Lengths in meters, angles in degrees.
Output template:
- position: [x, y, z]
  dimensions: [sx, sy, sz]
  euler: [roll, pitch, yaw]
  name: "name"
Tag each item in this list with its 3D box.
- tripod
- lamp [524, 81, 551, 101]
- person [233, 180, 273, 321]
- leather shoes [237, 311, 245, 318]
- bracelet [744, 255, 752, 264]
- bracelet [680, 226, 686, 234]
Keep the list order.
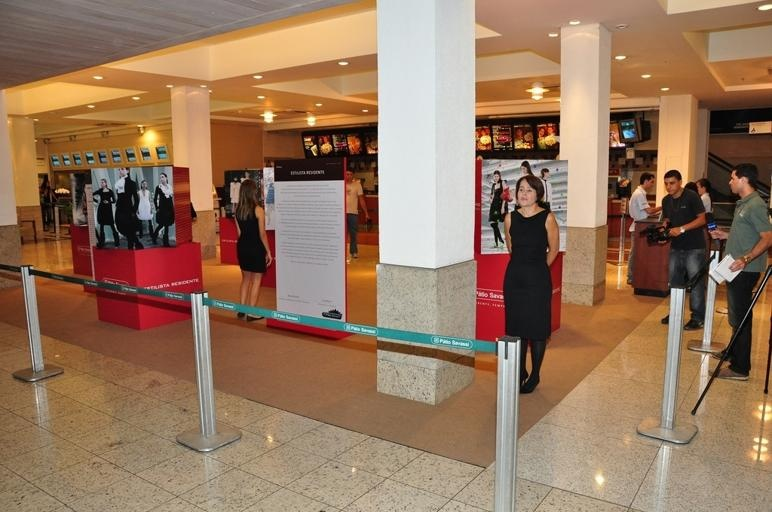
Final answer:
- position: [3.756, 0.757, 5.768]
  dimensions: [0.592, 1.422, 1.925]
  euler: [6, 15, 37]
  name: "tripod"
- position: [3.630, -3.948, 12.866]
  dimensions: [0.554, 0.342, 0.518]
  euler: [-3, 6, -19]
  name: "lamp"
- position: [-2.028, -0.178, 8.135]
  dimensions: [0.518, 1.941, 0.388]
  euler: [-6, 13, -14]
  name: "person"
- position: [-2.257, 0.902, 8.413]
  dimensions: [0.136, 0.090, 0.143]
  euler: [1, -1, -3]
  name: "leather shoes"
- position: [3.898, 0.035, 5.859]
  dimensions: [0.102, 0.095, 0.067]
  euler: [-7, 6, -38]
  name: "bracelet"
- position: [4.178, -0.377, 7.645]
  dimensions: [0.084, 0.081, 0.058]
  euler: [6, 25, 38]
  name: "bracelet"
